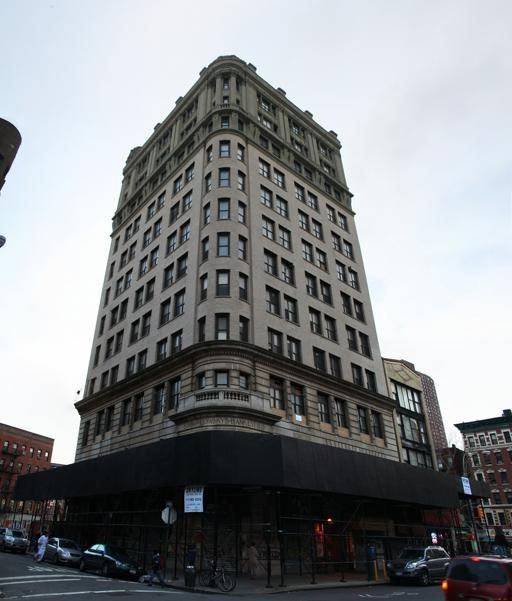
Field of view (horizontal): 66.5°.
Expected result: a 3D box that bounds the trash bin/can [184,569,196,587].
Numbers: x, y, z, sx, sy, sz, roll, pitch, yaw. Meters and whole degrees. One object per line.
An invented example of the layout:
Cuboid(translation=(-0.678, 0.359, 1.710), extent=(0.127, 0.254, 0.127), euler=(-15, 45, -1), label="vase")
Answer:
Cuboid(translation=(-2.571, 10.794, 15.232), extent=(0.314, 0.614, 0.662), euler=(6, -31, -16), label="trash bin/can")

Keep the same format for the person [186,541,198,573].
Cuboid(translation=(-2.612, 10.314, 15.710), extent=(0.361, 0.878, 0.633), euler=(3, -31, -12), label="person")

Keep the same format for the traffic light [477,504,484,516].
Cuboid(translation=(19.250, 18.127, 33.576), extent=(0.461, 0.906, 3.335), euler=(-16, -32, 21), label="traffic light")

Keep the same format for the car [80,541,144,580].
Cuboid(translation=(-6.801, 12.399, 18.499), extent=(1.166, 1.431, 3.838), euler=(24, -40, -39), label="car")
